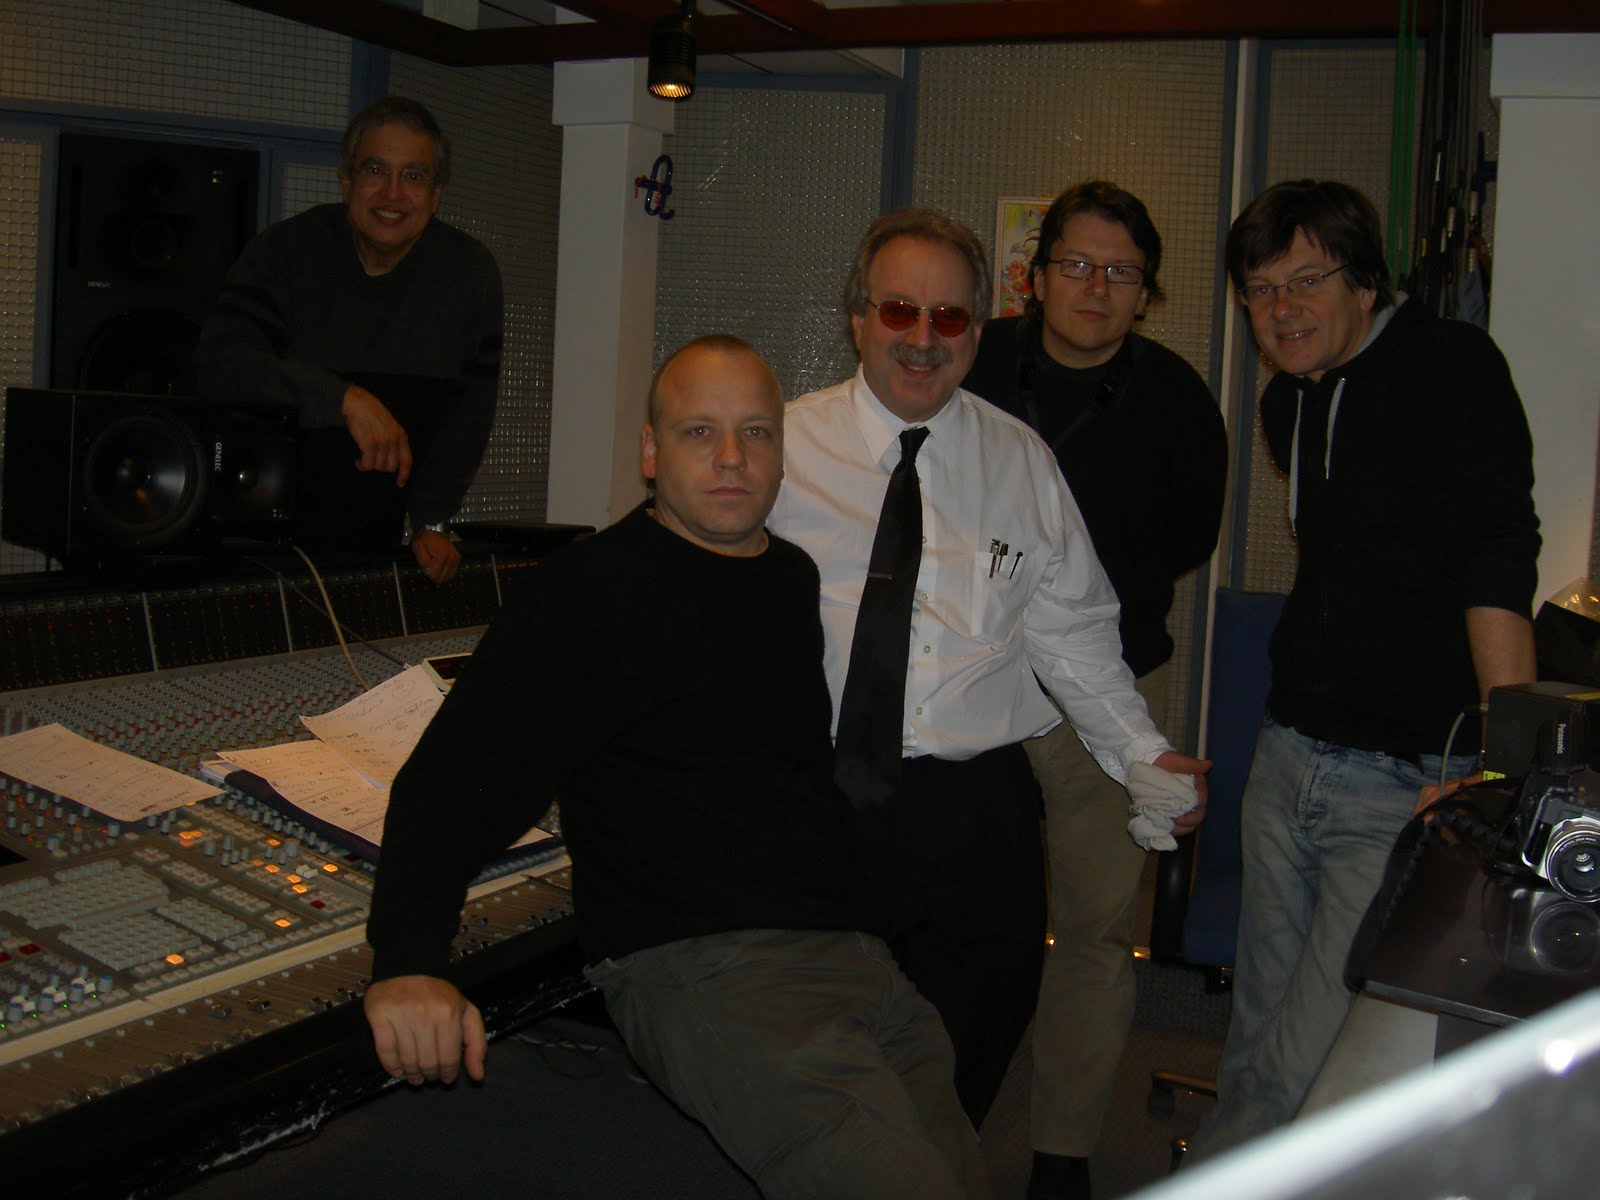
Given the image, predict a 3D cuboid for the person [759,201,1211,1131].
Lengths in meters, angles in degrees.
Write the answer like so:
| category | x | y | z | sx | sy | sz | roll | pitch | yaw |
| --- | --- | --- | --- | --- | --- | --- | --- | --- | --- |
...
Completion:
| category | x | y | z | sx | sy | sz | roll | pitch | yaw |
| --- | --- | --- | --- | --- | --- | --- | --- | --- | --- |
| person | 0.305 | 0.343 | 2.860 | 1.141 | 2.111 | 0.706 | 2 | 18 | 13 |
